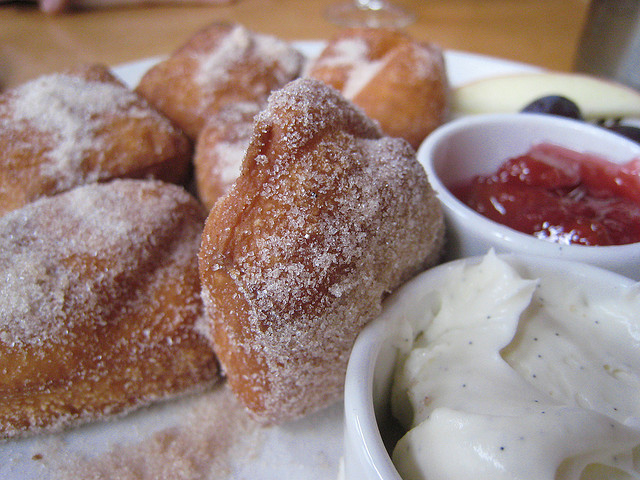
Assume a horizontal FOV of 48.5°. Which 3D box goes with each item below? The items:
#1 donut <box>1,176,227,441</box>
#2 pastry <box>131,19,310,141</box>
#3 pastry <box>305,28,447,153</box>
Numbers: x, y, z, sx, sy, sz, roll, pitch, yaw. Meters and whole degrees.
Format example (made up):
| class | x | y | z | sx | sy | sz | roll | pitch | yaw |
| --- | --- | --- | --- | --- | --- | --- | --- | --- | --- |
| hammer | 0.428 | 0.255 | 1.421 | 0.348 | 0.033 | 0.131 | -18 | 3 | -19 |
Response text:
| class | x | y | z | sx | sy | sz | roll | pitch | yaw |
| --- | --- | --- | --- | --- | --- | --- | --- | --- | --- |
| donut | -0.302 | 0.083 | 0.990 | 0.309 | 0.197 | 0.271 | -16 | 57 | -6 |
| pastry | -0.196 | -0.283 | 1.251 | 0.246 | 0.118 | 0.356 | -8 | 11 | -17 |
| pastry | 0.064 | -0.259 | 1.213 | 0.237 | 0.131 | 0.215 | -26 | 18 | -28 |
